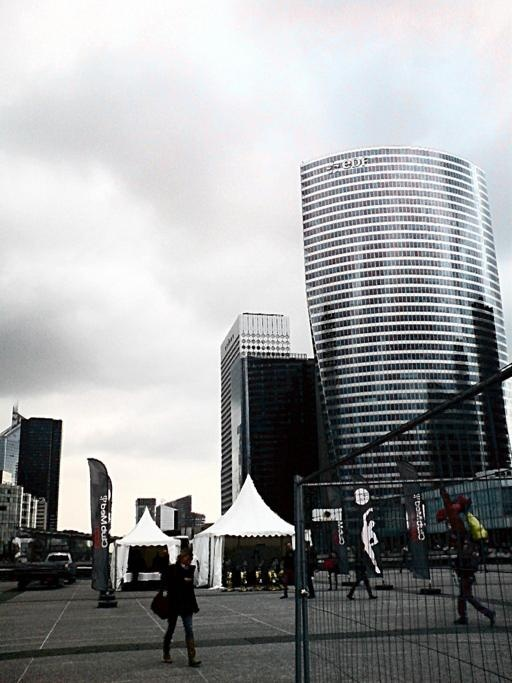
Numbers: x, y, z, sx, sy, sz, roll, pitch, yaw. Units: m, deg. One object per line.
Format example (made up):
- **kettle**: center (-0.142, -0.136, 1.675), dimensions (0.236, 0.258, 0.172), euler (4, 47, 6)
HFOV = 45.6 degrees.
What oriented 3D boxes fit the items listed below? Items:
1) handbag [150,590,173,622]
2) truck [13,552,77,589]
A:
- **handbag**: center (-1.396, 3.863, 8.903), dimensions (0.244, 0.430, 0.831), euler (1, -16, -10)
- **truck**: center (-10.700, 11.607, 31.609), dimensions (1.898, 1.936, 4.822), euler (0, -15, -4)
